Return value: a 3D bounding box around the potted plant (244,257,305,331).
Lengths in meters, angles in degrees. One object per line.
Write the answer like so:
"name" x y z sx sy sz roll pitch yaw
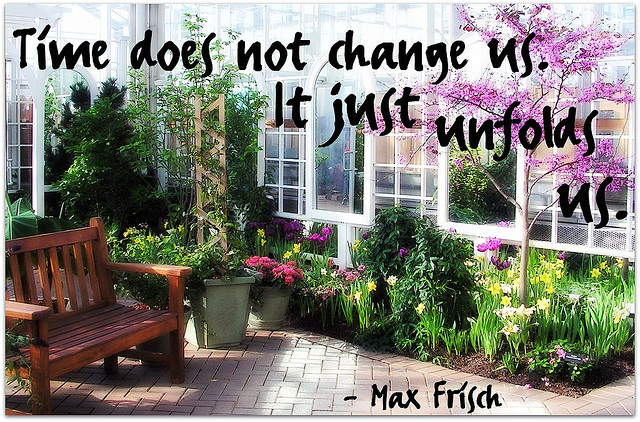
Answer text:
"potted plant" -0.527 0.867 5.417 0.890 0.864 0.694 3 -2 -9

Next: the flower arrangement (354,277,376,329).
"flower arrangement" 0.465 0.991 5.096 0.208 0.495 0.341 0 10 4

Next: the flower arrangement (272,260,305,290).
"flower arrangement" -0.371 0.738 5.271 0.333 0.239 0.300 -9 12 -40

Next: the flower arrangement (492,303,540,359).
"flower arrangement" 1.800 1.090 4.390 0.433 0.484 0.310 1 10 6

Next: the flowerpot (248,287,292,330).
"flowerpot" -0.542 1.089 5.242 0.401 0.519 0.434 -1 14 -1

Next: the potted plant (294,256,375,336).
"potted plant" 0.139 0.897 5.372 0.783 0.502 0.790 3 0 -12

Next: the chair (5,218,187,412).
"chair" -1.884 0.916 4.023 0.647 1.013 1.470 0 1 23

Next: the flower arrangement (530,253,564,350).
"flower arrangement" 2.152 0.886 4.634 0.284 0.721 0.997 5 12 27
